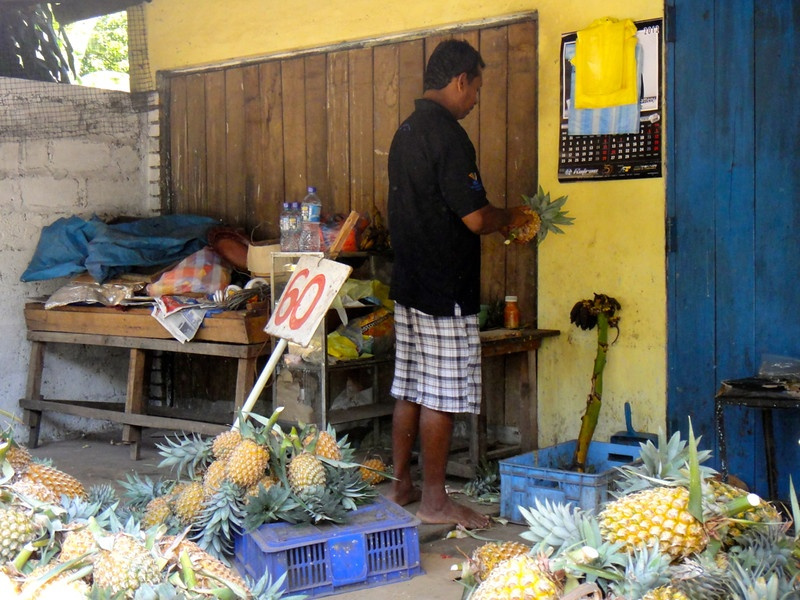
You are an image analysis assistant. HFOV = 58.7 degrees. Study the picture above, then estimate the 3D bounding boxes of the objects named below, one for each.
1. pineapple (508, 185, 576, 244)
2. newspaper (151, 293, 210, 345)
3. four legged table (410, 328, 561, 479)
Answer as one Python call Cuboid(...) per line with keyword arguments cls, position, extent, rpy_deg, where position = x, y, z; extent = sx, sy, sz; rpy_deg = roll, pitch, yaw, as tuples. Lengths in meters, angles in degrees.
Cuboid(cls="pineapple", position=(0.884, -0.506, 4.261), extent=(0.203, 0.216, 0.320), rpy_deg=(-47, -6, 40))
Cuboid(cls="newspaper", position=(-1.579, 0.130, 4.992), extent=(0.361, 0.351, 0.130), rpy_deg=(47, 18, 22))
Cuboid(cls="four legged table", position=(0.564, 0.693, 4.899), extent=(0.917, 1.087, 0.898), rpy_deg=(-6, -10, 42))
